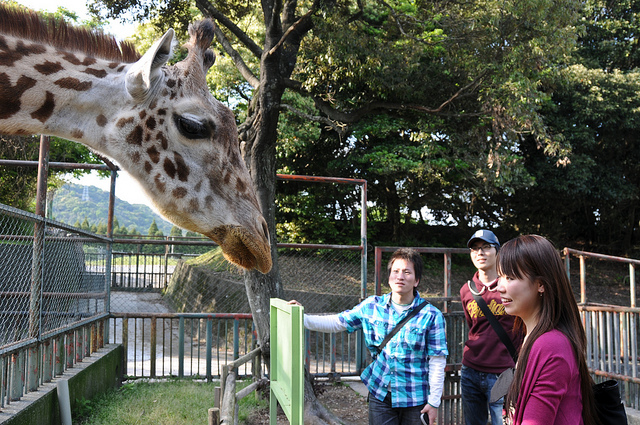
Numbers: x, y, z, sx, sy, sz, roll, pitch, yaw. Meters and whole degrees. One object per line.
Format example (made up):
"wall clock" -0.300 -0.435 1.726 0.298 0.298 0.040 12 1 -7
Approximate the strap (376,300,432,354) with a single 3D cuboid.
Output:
"strap" 1.118 1.535 7.716 0.118 0.799 0.083 38 2 -40

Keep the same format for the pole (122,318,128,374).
"pole" -3.778 2.599 11.422 0.101 1.085 0.383 3 -7 -15

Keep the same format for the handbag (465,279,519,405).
"handbag" 2.408 1.781 8.043 0.417 1.944 0.274 -22 14 -1

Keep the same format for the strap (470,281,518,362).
"strap" 2.376 1.532 7.997 0.163 1.499 0.211 -34 -35 24

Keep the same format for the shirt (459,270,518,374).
"shirt" 2.484 1.598 8.540 0.989 1.425 0.745 0 11 27

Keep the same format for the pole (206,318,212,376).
"pole" -2.119 2.588 11.296 0.085 1.103 0.233 2 -7 -6

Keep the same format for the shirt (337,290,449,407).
"shirt" 0.890 1.751 7.934 1.517 1.527 0.674 4 12 10

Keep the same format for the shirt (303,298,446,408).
"shirt" 0.623 1.631 8.073 2.208 0.966 0.786 -5 5 3

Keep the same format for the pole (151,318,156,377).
"pole" -3.164 2.586 11.205 0.103 1.124 0.354 3 -7 -16
